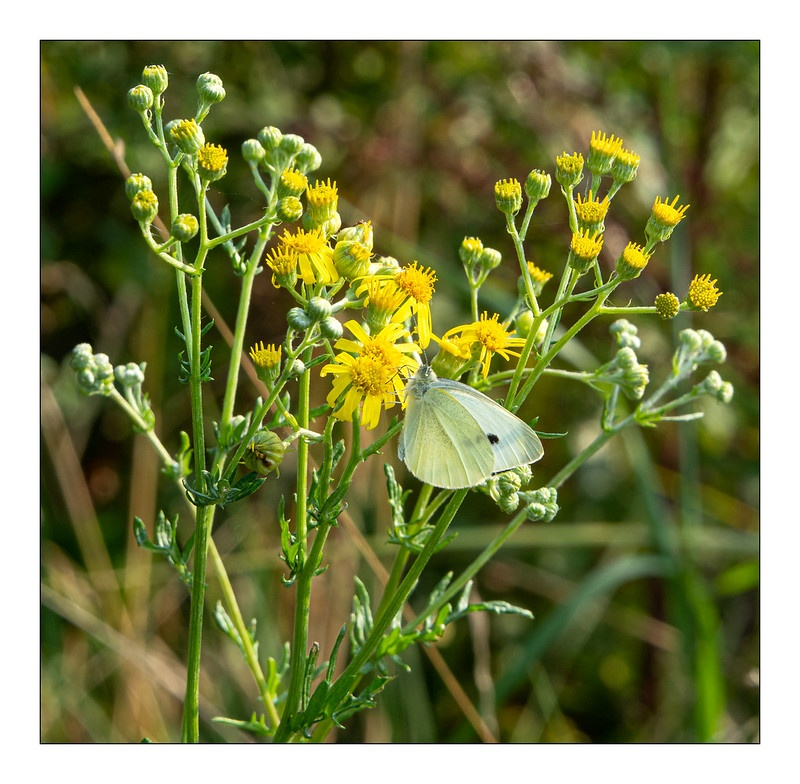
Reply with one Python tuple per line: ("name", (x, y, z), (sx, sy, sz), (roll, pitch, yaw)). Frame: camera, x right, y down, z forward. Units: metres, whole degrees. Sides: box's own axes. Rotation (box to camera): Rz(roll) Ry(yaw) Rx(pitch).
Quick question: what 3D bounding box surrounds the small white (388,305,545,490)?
("small white", (0.332, 0.040, 4.887), (0.650, 0.944, 0.871), (1, 16, -2))
